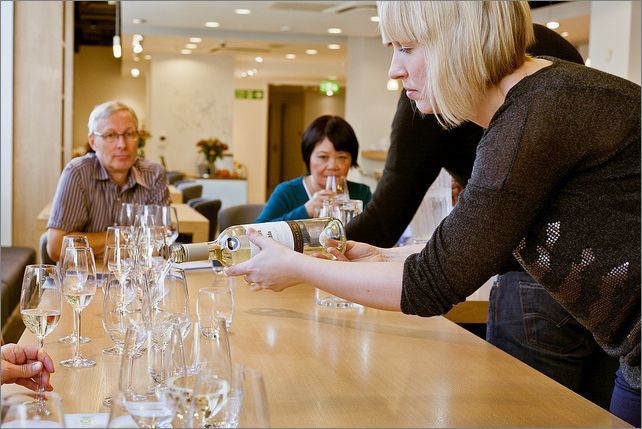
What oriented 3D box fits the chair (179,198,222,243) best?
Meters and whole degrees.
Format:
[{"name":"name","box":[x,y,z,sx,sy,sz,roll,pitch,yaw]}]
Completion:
[{"name":"chair","box":[-1.278,0.062,5.734,0.490,0.563,0.444,4,6,-4]}]

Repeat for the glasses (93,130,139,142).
[{"name":"glasses","box":[-1.213,-0.464,3.058,0.244,0.064,0.109,-4,10,-28]}]

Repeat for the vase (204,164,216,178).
[{"name":"vase","box":[-1.935,-0.766,8.993,0.195,0.229,0.354,-1,10,-12]}]

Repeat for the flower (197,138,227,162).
[{"name":"flower","box":[-1.960,-1.164,9.274,0.505,0.427,0.502,0,-5,-23]}]

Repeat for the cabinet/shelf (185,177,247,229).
[{"name":"cabinet/shelf","box":[-1.665,-0.048,8.539,1.175,1.147,0.842,-1,1,-12]}]

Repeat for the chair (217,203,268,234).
[{"name":"chair","box":[-0.566,0.011,3.646,0.225,0.265,0.232,-1,4,-26]}]
